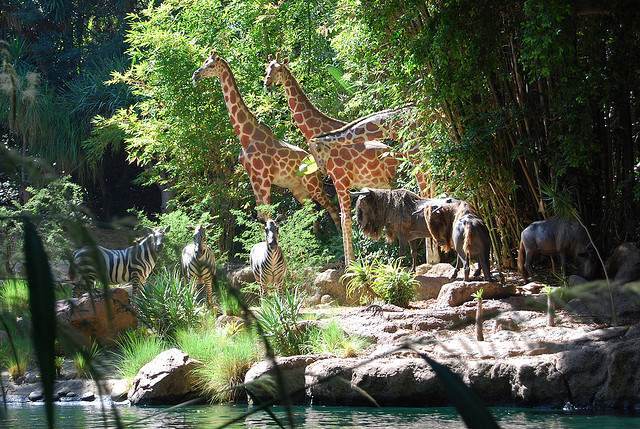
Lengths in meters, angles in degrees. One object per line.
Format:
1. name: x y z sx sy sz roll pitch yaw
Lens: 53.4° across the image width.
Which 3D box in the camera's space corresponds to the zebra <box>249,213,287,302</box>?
1. zebra: -0.950 0.837 12.145 0.473 1.437 1.005 -2 -6 -23
